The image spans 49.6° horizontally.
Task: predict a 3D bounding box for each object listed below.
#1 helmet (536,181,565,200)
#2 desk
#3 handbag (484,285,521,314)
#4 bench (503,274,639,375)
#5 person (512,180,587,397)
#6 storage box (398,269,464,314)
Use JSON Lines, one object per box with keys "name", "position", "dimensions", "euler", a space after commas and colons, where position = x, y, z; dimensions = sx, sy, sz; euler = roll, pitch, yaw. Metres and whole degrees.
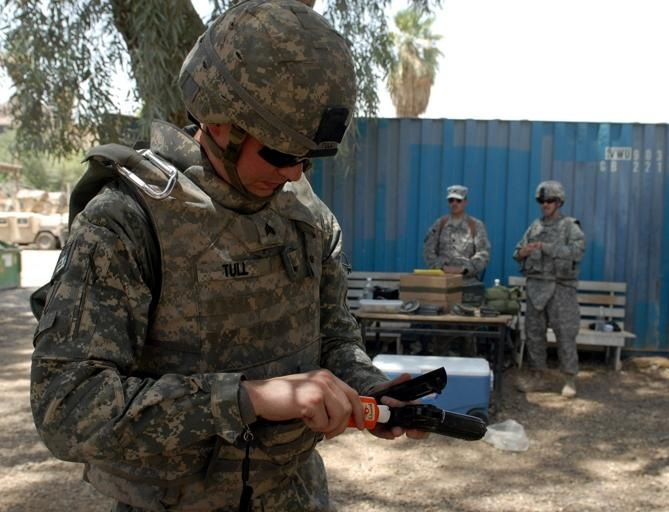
{"name": "helmet", "position": [2.440, -0.731, 8.158], "dimensions": [0.278, 0.226, 0.269], "euler": [4, 4, 28]}
{"name": "desk", "position": [1.148, 1.130, 8.471], "dimensions": [1.683, 0.873, 1.258], "euler": [0, -4, 12]}
{"name": "handbag", "position": [2.188, 0.535, 9.376], "dimensions": [0.427, 0.309, 0.440], "euler": [1, 4, 26]}
{"name": "bench", "position": [3.232, 0.852, 9.661], "dimensions": [1.358, 0.966, 0.648], "euler": [1, 17, 9]}
{"name": "person", "position": [2.421, 0.491, 8.178], "dimensions": [0.743, 2.040, 0.537], "euler": [5, 9, 24]}
{"name": "storage box", "position": [1.082, 0.371, 8.364], "dimensions": [0.498, 0.324, 0.513], "euler": [3, 3, 39]}
